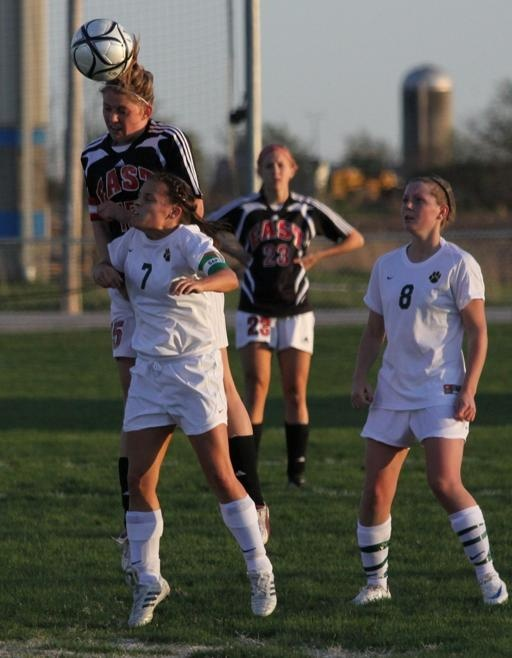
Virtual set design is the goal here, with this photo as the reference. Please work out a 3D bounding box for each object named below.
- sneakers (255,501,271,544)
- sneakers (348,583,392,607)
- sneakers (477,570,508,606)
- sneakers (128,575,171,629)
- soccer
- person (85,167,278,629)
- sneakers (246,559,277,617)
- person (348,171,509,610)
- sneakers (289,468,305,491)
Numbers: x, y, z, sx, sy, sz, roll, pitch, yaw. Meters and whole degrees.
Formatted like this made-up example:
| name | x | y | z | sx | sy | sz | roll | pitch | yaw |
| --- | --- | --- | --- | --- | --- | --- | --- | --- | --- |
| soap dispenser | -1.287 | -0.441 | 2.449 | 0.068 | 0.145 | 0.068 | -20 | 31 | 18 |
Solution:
| name | x | y | z | sx | sy | sz | roll | pitch | yaw |
| --- | --- | --- | --- | --- | --- | --- | --- | --- | --- |
| sneakers | 0.043 | 0.999 | 8.719 | 0.066 | 0.201 | 0.085 | -4 | -6 | 9 |
| sneakers | 0.538 | 1.254 | 7.976 | 0.200 | 0.081 | 0.074 | -1 | -1 | -27 |
| sneakers | 1.113 | 1.197 | 7.940 | 0.138 | 0.150 | 0.155 | 1 | 12 | 8 |
| sneakers | -0.472 | 1.222 | 7.774 | 0.100 | 0.293 | 0.141 | 4 | -29 | 48 |
| soccer | -0.764 | -1.362 | 8.350 | 0.355 | 0.302 | 0.274 | 4 | 13 | 22 |
| person | -0.292 | 0.297 | 7.869 | 0.734 | 1.992 | 0.689 | -2 | 12 | -5 |
| sneakers | 0.038 | 1.204 | 7.855 | 0.097 | 0.296 | 0.128 | -5 | -3 | 16 |
| person | 0.812 | 0.282 | 8.018 | 0.712 | 1.916 | 0.655 | -1 | 12 | 2 |
| sneakers | 0.242 | 0.897 | 10.046 | 0.123 | 0.124 | 0.058 | -3 | 2 | 28 |
